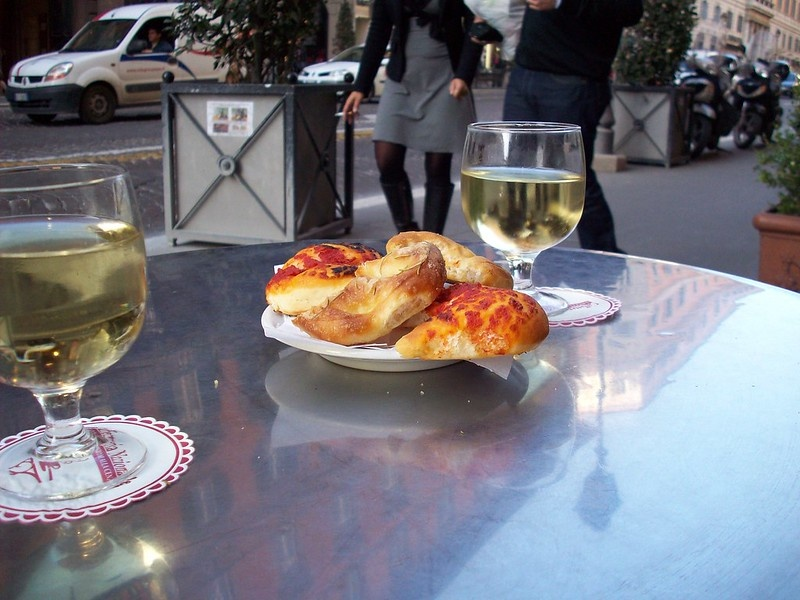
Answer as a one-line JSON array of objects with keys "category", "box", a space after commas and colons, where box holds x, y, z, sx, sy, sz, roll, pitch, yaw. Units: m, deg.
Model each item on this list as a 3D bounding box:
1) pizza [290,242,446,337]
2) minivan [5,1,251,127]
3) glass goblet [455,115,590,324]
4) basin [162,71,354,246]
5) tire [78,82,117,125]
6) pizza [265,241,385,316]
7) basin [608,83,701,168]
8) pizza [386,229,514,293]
[{"category": "pizza", "box": [-0.031, 0.006, 0.737, 0.121, 0.037, 0.113, -14, 22, 33]}, {"category": "minivan", "box": [-2.330, -2.171, 6.648, 1.259, 1.009, 2.317, 22, 28, 38]}, {"category": "glass goblet", "box": [0.171, -0.115, 1.026, 0.197, 0.257, 0.174, 2, 14, 10]}, {"category": "basin", "box": [-0.740, -0.798, 4.879, 1.495, 1.303, 1.391, 0, 8, 0]}, {"category": "tire", "box": [-2.817, -1.852, 6.600, 0.436, 0.379, 0.158, 3, 5, 17]}, {"category": "pizza", "box": [-0.084, -0.030, 0.814, 0.110, 0.030, 0.096, -12, 20, 14]}, {"category": "basin", "box": [3.295, -2.142, 8.312, 1.239, 0.931, 1.141, -2, 21, 1]}, {"category": "pizza", "box": [0.072, -0.053, 0.878, 0.192, 0.046, 0.101, 15, 17, 33]}]
